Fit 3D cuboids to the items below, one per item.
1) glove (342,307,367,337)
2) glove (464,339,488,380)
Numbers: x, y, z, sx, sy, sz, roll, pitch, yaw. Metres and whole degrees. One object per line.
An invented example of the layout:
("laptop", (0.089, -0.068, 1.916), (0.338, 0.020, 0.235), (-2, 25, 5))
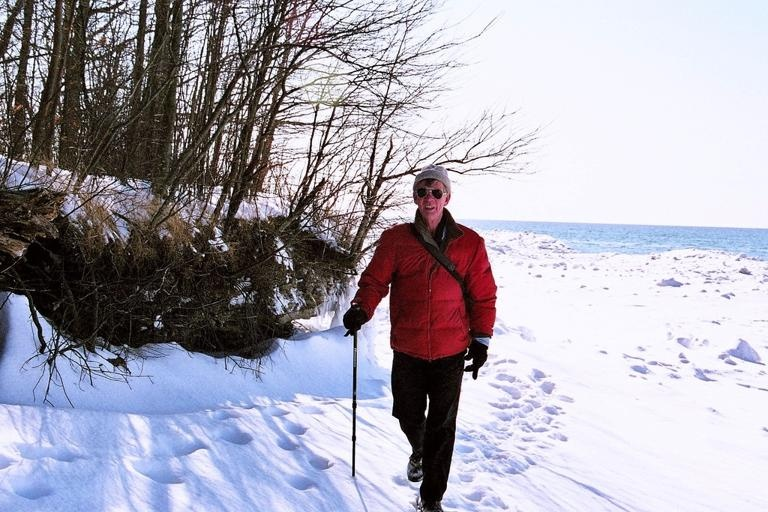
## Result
("glove", (-0.331, 0.733, 6.693), (0.263, 0.333, 0.116), (1, 3, 1))
("glove", (1.036, 1.163, 6.616), (0.234, 0.380, 0.436), (8, 3, 10))
